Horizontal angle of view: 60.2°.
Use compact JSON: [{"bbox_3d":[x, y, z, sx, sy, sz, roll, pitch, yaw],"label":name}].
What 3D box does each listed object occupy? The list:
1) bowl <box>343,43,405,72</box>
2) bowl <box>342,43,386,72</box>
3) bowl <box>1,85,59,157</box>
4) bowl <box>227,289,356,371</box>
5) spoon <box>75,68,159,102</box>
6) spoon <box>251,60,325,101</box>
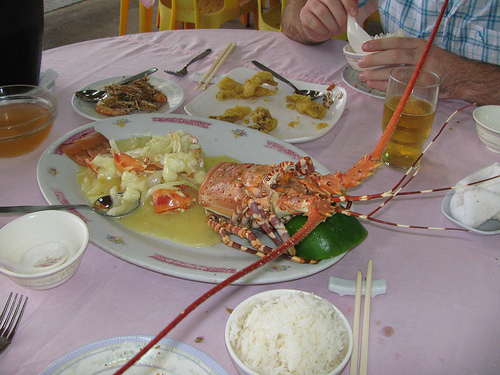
[{"bbox_3d":[0.752,-0.788,2.625,0.314,0.119,0.307,-9,26,4],"label":"bowl"},{"bbox_3d":[0.665,-0.798,2.570,0.213,0.107,0.203,-2,49,2],"label":"bowl"},{"bbox_3d":[-1.049,-0.310,2.017,0.265,0.149,0.258,7,40,-6],"label":"bowl"},{"bbox_3d":[0.141,0.473,1.384,0.431,0.141,0.272,11,44,6],"label":"bowl"},{"bbox_3d":[-0.776,-0.584,2.478,0.546,0.069,0.107,-20,72,-8],"label":"spoon"},{"bbox_3d":[0.231,-0.657,2.679,0.504,0.074,0.102,34,57,21],"label":"spoon"}]
